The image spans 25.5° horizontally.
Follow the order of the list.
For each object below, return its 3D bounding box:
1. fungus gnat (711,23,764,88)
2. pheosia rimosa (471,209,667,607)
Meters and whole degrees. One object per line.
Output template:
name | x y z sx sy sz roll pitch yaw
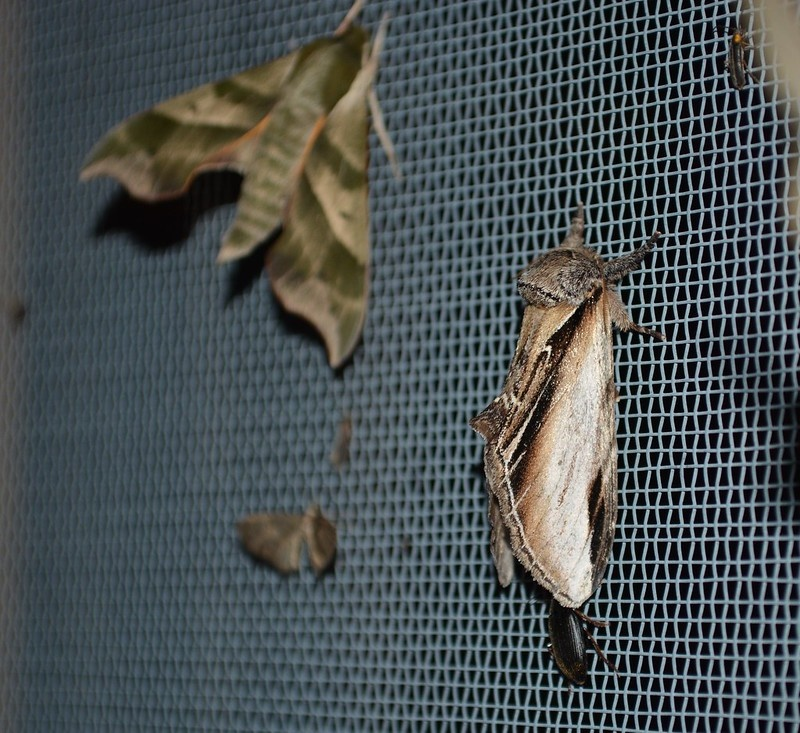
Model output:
fungus gnat | 0.492 -0.450 2.554 0.020 0.091 0.047 -1 2 -45
pheosia rimosa | 0.237 0.078 2.521 0.194 0.729 0.197 9 -9 -41
